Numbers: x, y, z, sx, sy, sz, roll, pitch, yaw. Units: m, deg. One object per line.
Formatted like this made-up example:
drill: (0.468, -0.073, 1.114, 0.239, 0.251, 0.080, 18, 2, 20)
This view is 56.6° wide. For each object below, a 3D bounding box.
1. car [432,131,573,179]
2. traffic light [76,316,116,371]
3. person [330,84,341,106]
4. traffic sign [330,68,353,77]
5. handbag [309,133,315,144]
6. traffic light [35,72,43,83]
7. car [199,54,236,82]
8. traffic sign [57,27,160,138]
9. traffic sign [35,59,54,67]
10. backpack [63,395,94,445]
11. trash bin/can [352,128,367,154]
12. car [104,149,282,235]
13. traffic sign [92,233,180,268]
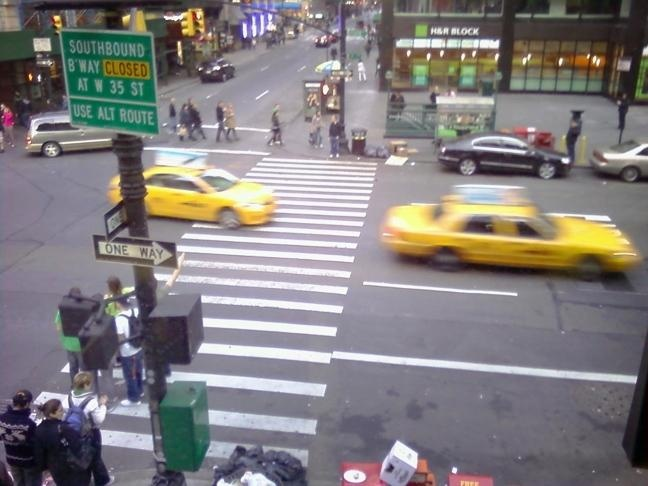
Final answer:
car: (6.828, -3.490, 23.753, 5.002, 1.953, 2.138, 1, 28, 3)
traffic light: (-2.846, 1.250, 7.672, 0.384, 0.615, 0.479, 4, 17, 14)
person: (0.581, -8.139, 33.661, 0.531, 1.209, 0.146, -12, 19, -35)
traffic sign: (0.767, -7.176, 25.665, 0.813, 0.361, 0.684, 5, 19, 15)
handbag: (-0.550, -4.729, 27.611, 0.192, 0.562, 0.395, -3, 17, -9)
traffic light: (-16.429, -9.497, 34.853, 0.173, 0.528, 0.515, 2, 17, 8)
car: (-7.943, -13.066, 45.596, 1.344, 1.253, 2.643, 7, 36, 12)
traffic sign: (-2.612, -2.002, 7.505, 1.456, 1.238, 0.351, 8, 18, 24)
traffic sign: (-13.535, -8.749, 29.275, 0.589, 0.377, 1.656, -6, 19, -18)
backpack: (-3.467, 2.519, 8.636, 0.303, 0.550, 0.562, -11, 56, 8)
trash bin/can: (1.527, -4.372, 26.259, 0.611, 1.172, 0.489, -1, 16, -1)
car: (-3.909, -1.718, 18.892, 4.467, 1.663, 2.345, 4, 41, 2)
traffic sign: (-2.348, 0.118, 7.519, 1.133, 0.398, 0.220, 5, 17, 15)
